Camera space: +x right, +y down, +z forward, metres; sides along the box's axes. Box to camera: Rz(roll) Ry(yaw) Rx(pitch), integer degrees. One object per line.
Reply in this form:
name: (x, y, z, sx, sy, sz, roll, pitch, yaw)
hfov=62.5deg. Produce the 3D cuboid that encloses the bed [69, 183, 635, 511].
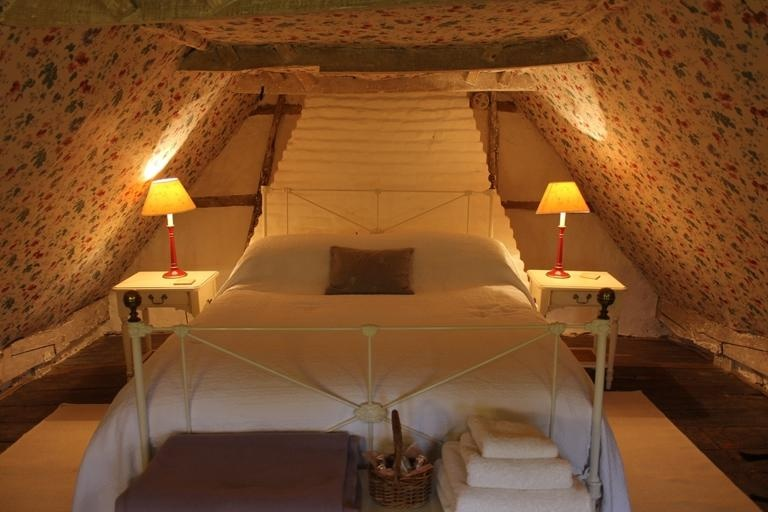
bed: (-0.198, 0.464, 3.457, 2.103, 0.668, 1.775, 0, 13, 1)

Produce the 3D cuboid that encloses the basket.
basket: (0.080, 0.862, 2.714, 0.266, 0.408, 0.216, 5, 3, 8)

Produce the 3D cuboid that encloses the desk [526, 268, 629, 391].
desk: (1.327, 0.511, 4.492, 0.682, 0.592, 0.473, 6, 0, 9)
